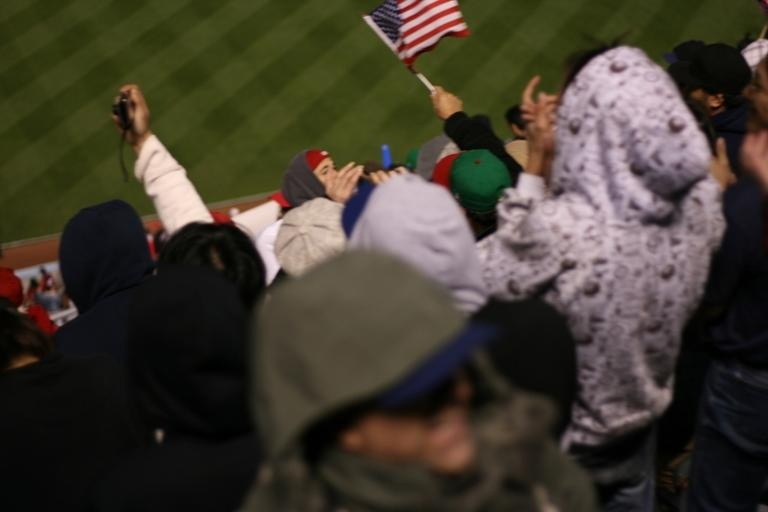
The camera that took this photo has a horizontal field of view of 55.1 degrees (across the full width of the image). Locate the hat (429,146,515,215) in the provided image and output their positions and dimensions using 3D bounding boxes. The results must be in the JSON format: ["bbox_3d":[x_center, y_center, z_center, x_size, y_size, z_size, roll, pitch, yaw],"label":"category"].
[{"bbox_3d":[0.574,-0.492,4.830,0.373,0.270,0.519,-39,70,-21],"label":"hat"}]

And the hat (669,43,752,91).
[{"bbox_3d":[2.426,-1.357,5.450,0.391,0.193,0.531,-43,42,-11],"label":"hat"}]

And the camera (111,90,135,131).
[{"bbox_3d":[-1.711,-0.952,4.790,0.069,0.230,0.141,-12,44,-15],"label":"camera"}]
